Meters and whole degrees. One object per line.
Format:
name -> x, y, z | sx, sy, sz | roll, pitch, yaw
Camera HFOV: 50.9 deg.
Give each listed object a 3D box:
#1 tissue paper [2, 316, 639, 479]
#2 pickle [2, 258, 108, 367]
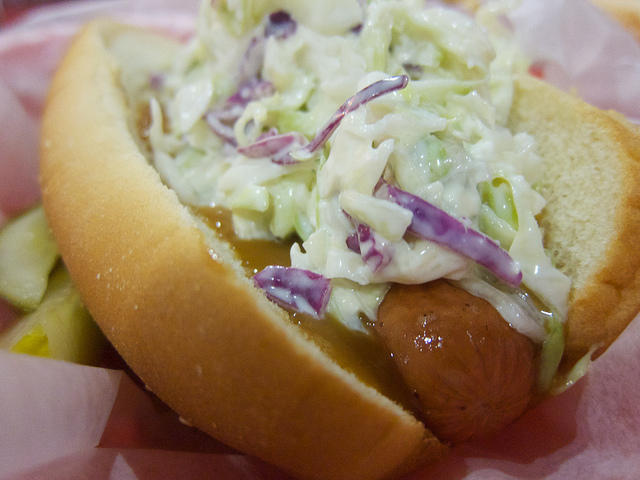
tissue paper -> -0.026, 0.425, 1.479 | 0.824, 0.613, 0.168 | 4, 89, 0
pickle -> -0.613, 0.194, 1.657 | 0.210, 0.251, 0.273 | -4, 106, -12
